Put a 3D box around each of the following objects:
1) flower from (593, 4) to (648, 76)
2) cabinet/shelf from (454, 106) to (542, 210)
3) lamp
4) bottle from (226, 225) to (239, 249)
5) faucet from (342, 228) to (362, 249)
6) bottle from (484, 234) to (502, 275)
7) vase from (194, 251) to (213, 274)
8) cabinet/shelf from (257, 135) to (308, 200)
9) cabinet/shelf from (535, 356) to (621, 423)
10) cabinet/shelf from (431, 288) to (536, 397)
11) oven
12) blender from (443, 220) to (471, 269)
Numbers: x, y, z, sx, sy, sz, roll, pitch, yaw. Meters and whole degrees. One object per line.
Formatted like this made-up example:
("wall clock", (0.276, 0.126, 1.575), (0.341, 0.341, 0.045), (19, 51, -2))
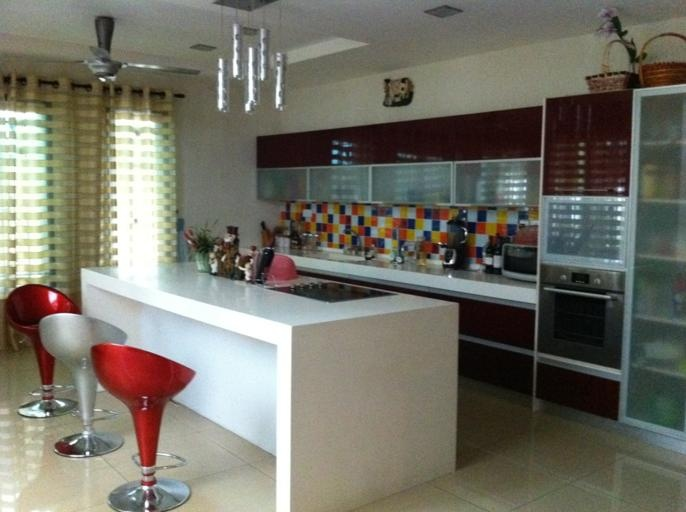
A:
("flower", (2.165, -1.652, 4.272), (0.361, 0.415, 0.637), (6, 11, 27))
("cabinet/shelf", (1.448, -0.832, 5.046), (0.838, 0.728, 0.286), (6, 13, 41))
("lamp", (-0.776, -1.495, 4.339), (0.425, 0.810, 1.856), (-2, 10, -13))
("bottle", (-0.904, -0.147, 4.522), (0.079, 0.183, 0.252), (-2, 11, -14))
("faucet", (0.114, -0.216, 6.728), (0.237, 0.280, 0.288), (0, 2, -38))
("bottle", (1.456, -0.010, 5.329), (0.161, 0.349, 0.137), (4, 11, 18))
("vase", (-1.167, 0.062, 4.669), (0.175, 0.167, 0.161), (-1, 4, -22))
("cabinet/shelf", (-0.803, -1.155, 7.286), (0.966, 0.841, 0.321), (-7, 11, -34))
("cabinet/shelf", (1.921, 1.003, 4.395), (0.382, 0.266, 0.528), (-2, 6, -39))
("cabinet/shelf", (1.390, 0.778, 5.467), (1.333, 0.690, 1.194), (5, 1, 24))
("oven", (1.976, 0.454, 4.543), (0.717, 0.748, 0.606), (5, 9, 35))
("blender", (1.154, -0.127, 5.595), (0.239, 0.499, 0.190), (3, 11, 13))
